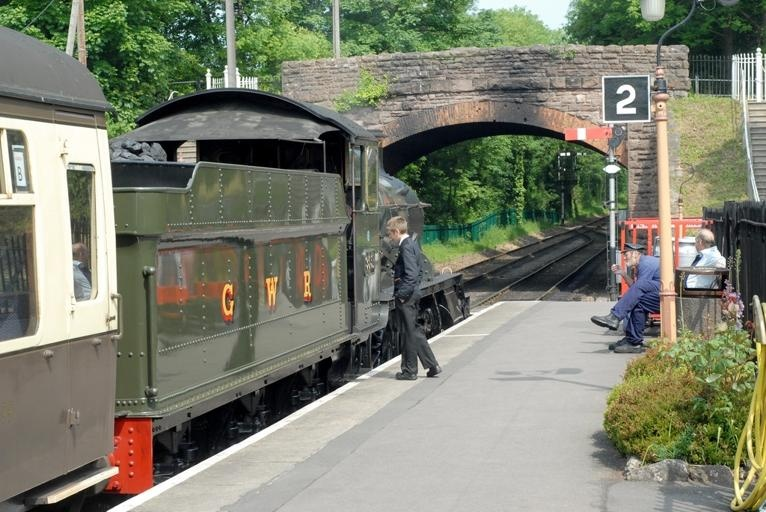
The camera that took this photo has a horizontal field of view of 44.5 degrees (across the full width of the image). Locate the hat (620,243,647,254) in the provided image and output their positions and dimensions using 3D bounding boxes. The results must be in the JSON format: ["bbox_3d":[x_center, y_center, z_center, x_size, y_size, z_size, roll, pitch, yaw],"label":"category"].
[{"bbox_3d":[4.907,-0.132,18.585,0.399,0.180,0.351,0,0,26],"label":"hat"}]

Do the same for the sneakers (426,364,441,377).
[{"bbox_3d":[0.739,1.671,13.611,0.097,0.221,0.294,-8,9,-12],"label":"sneakers"}]

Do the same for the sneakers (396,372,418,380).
[{"bbox_3d":[0.325,1.731,13.567,0.280,0.132,0.129,7,7,18],"label":"sneakers"}]

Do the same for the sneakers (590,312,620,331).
[{"bbox_3d":[3.728,1.123,15.796,0.414,0.302,0.156,20,-29,26],"label":"sneakers"}]

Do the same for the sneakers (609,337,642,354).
[{"bbox_3d":[3.854,1.444,14.848,0.354,0.152,0.285,1,-3,0],"label":"sneakers"}]
